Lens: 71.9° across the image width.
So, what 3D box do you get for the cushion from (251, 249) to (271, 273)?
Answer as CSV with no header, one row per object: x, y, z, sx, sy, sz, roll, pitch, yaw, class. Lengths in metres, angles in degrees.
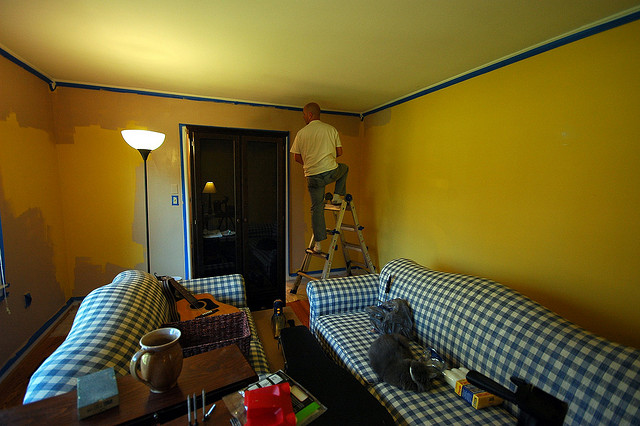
-0.753,0.565,5.479,0.057,0.241,0.241,-39,-7,31,cushion

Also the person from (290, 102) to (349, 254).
0.027,-0.390,5.192,0.611,1.757,0.454,-6,6,-42,person

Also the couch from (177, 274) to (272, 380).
-0.848,0.847,4.081,0.598,0.383,1.430,-4,32,-23,couch

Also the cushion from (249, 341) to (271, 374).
-0.501,1.171,3.576,0.160,0.251,0.059,5,-44,-33,cushion

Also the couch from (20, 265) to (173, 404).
-1.742,0.929,3.359,0.390,0.320,1.012,-24,14,7,couch

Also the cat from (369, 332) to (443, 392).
0.636,1.145,3.453,0.362,0.233,0.572,-20,31,-31,cat

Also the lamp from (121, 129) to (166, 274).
-1.776,0.056,4.526,0.424,1.702,0.409,11,14,41,lamp

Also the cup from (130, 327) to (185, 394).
-1.009,0.935,2.736,0.282,0.305,0.370,2,11,25,cup

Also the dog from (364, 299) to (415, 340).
0.610,0.909,3.879,0.415,0.256,0.259,6,4,17,dog
